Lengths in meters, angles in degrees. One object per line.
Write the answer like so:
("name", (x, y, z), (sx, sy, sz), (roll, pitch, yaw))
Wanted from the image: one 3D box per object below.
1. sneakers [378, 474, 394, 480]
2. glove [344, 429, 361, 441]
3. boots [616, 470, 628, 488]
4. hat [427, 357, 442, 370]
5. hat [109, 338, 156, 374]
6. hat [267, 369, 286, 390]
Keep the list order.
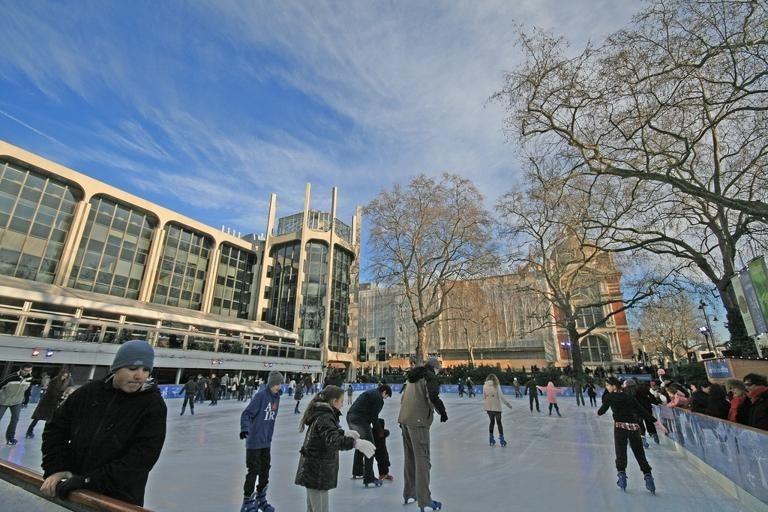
("sneakers", (0.061, 4.941, 7.563), (0.348, 0.140, 0.121), (5, -14, -8))
("glove", (-0.463, 2.561, 4.834), (0.204, 0.124, 0.228), (1, -21, -10))
("boots", (4.867, 4.598, 6.930), (0.136, 0.341, 0.247), (-10, -22, 19))
("hat", (1.028, 2.180, 6.863), (0.273, 0.319, 0.330), (-2, -23, 19))
("hat", (-2.880, 1.208, 3.896), (0.485, 0.351, 0.384), (-32, -37, 26))
("hat", (-2.211, 2.528, 6.886), (0.298, 0.353, 0.387), (5, -22, -19))
